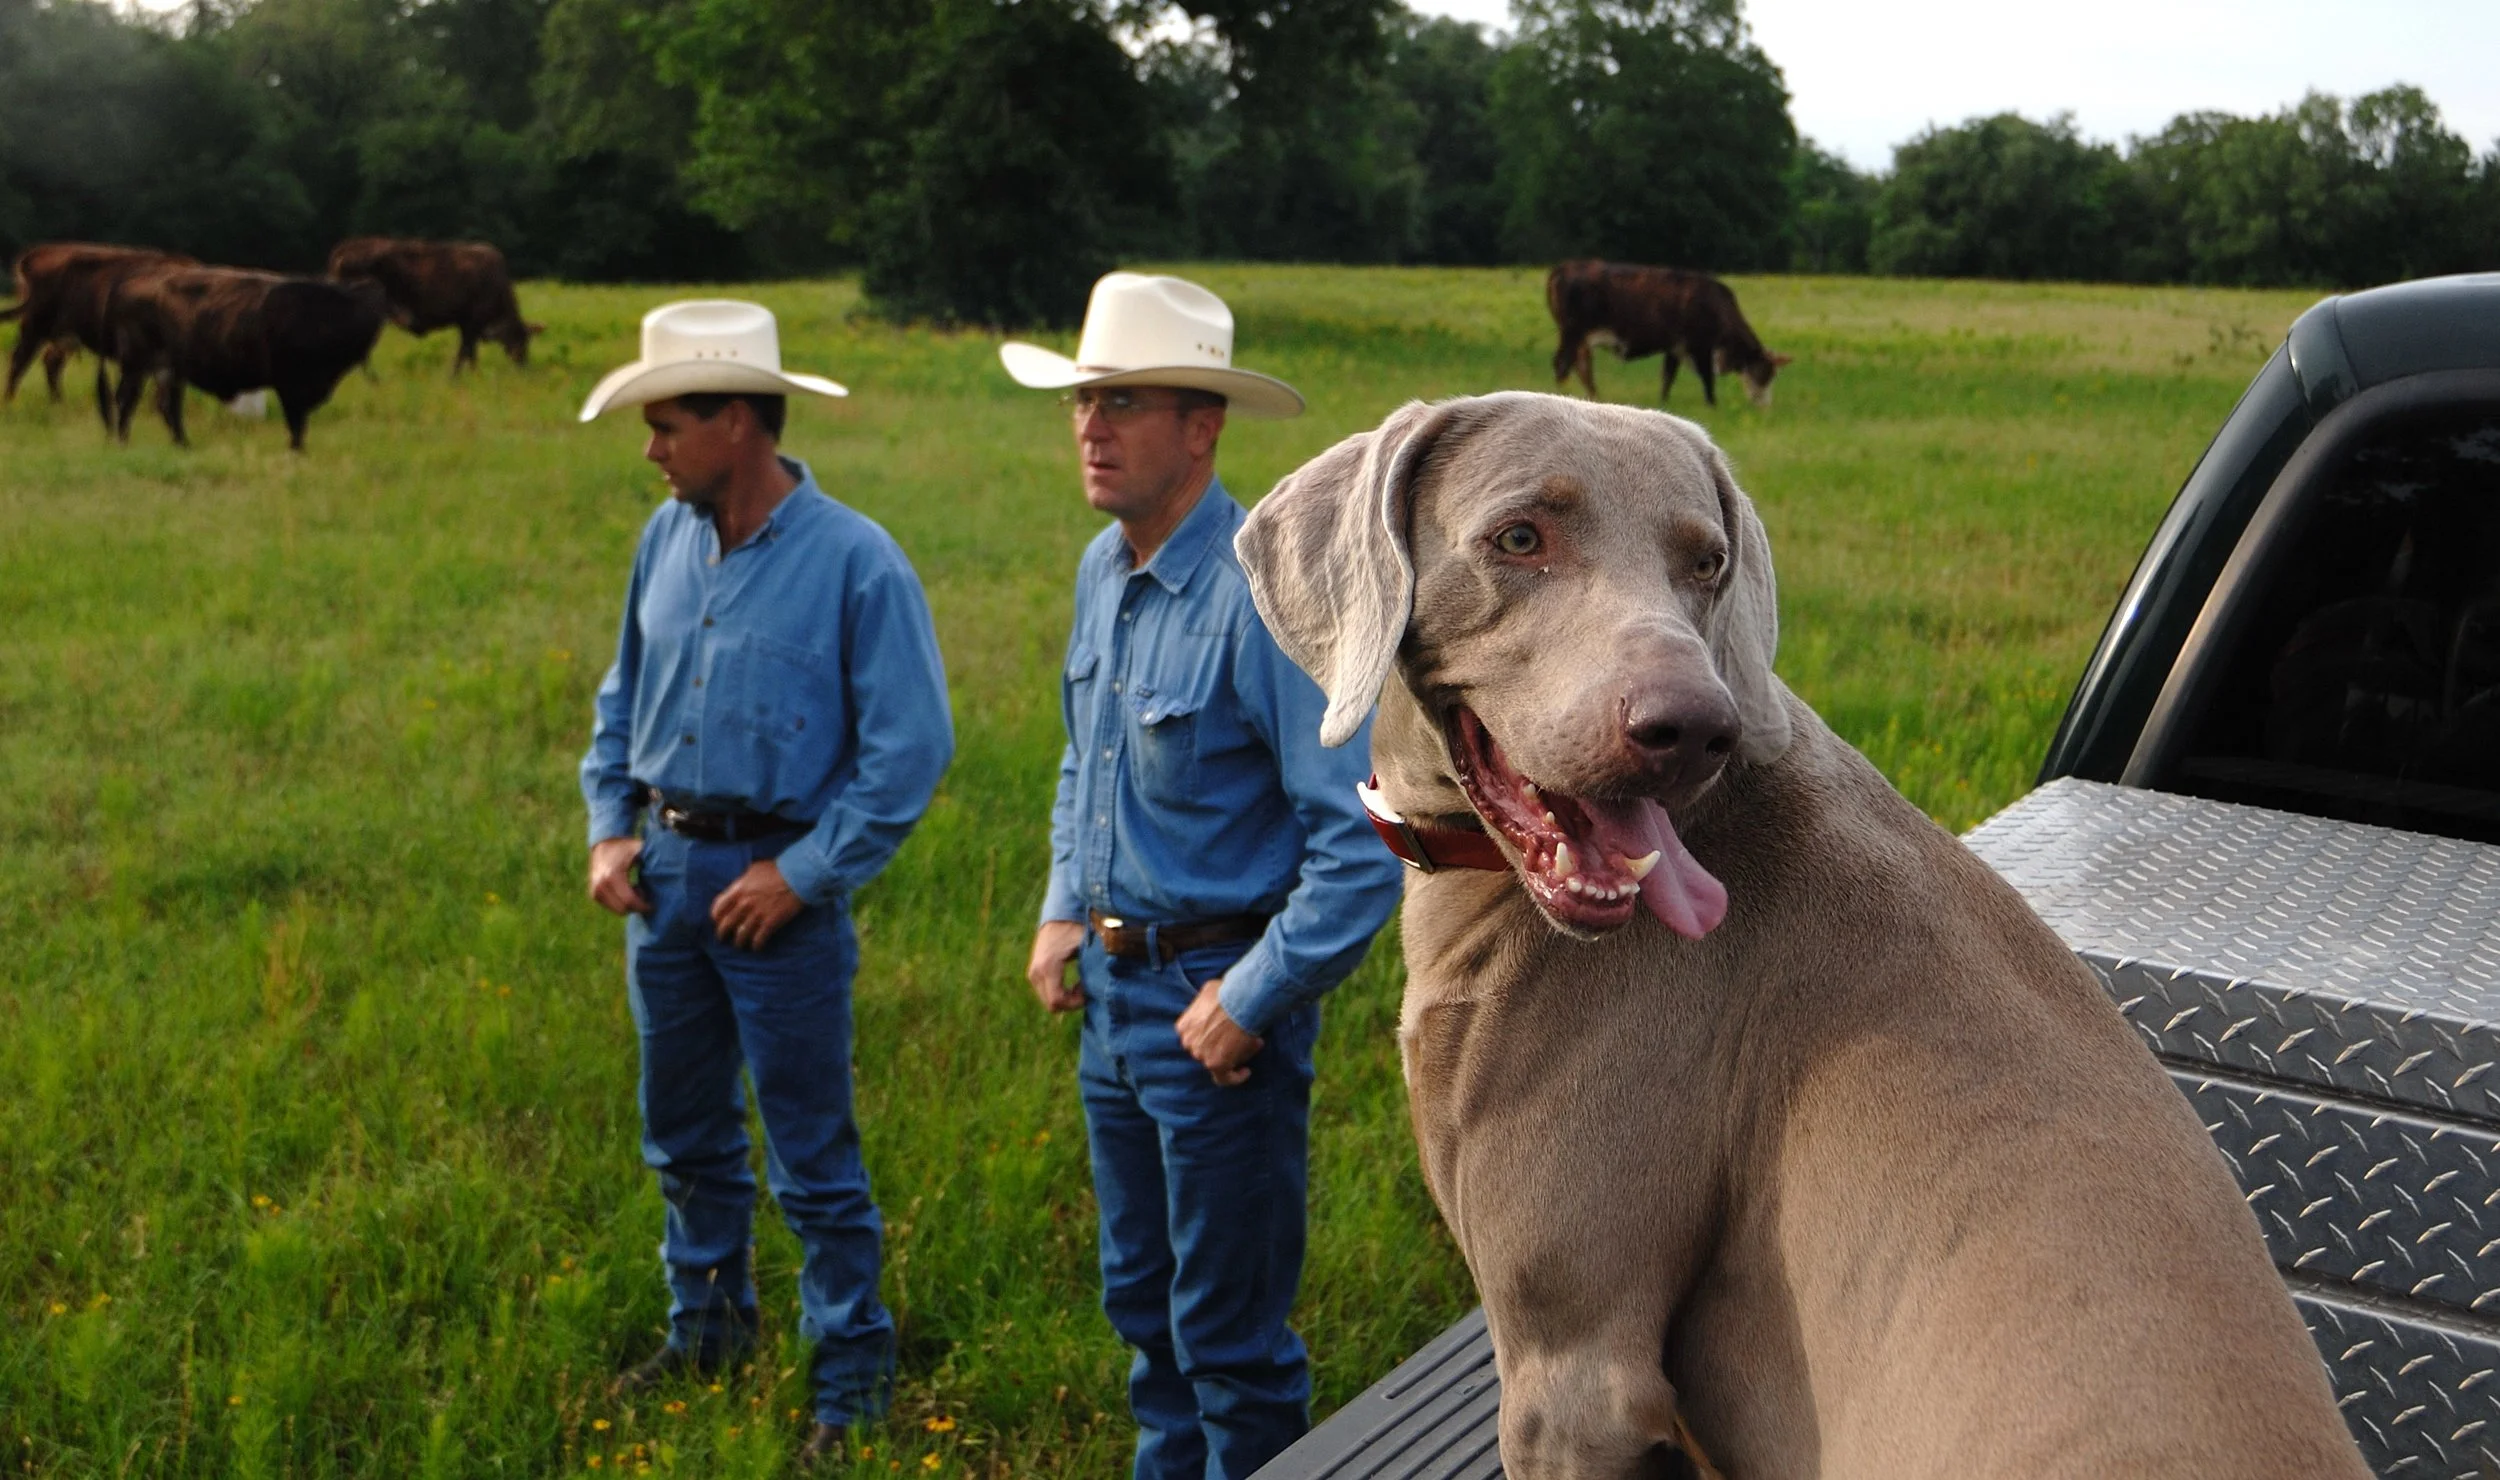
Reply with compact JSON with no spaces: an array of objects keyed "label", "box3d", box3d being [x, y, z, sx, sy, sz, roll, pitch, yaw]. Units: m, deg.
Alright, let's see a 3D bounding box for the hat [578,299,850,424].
[{"label":"hat","box3d":[-2.195,-1.556,9.275,0.775,0.365,0.700,-3,7,-13]}]
